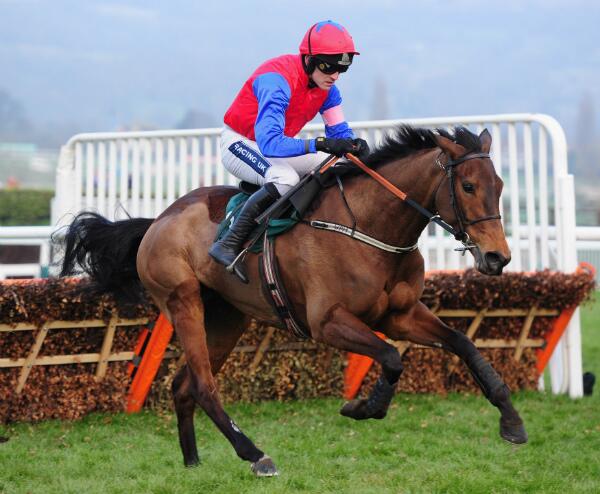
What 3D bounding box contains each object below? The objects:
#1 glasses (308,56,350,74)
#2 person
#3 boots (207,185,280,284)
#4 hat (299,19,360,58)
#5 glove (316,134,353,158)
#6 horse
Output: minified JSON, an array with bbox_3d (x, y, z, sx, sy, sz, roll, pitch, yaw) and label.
[{"bbox_3d":[0.174,-1.059,6.010,0.255,0.103,0.090,0,12,2],"label":"glasses"},{"bbox_3d":[-0.031,-0.623,6.261,0.880,1.512,0.735,8,13,3],"label":"person"},{"bbox_3d":[-0.340,-0.112,6.181,0.376,0.585,0.184,41,5,-22],"label":"boots"},{"bbox_3d":[0.132,-1.238,6.132,0.410,0.193,0.337,-4,10,29],"label":"hat"},{"bbox_3d":[0.201,-0.578,5.972,0.212,0.122,0.160,0,12,2],"label":"glove"},{"bbox_3d":[-0.192,0.387,6.411,3.218,2.175,0.771,1,-1,30],"label":"horse"}]
